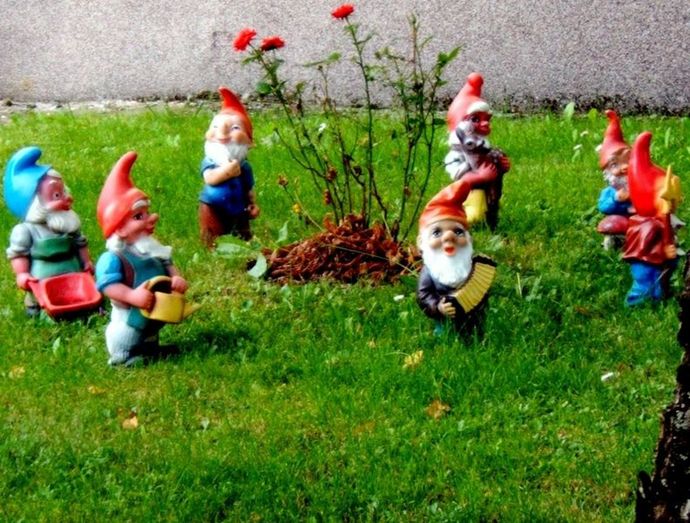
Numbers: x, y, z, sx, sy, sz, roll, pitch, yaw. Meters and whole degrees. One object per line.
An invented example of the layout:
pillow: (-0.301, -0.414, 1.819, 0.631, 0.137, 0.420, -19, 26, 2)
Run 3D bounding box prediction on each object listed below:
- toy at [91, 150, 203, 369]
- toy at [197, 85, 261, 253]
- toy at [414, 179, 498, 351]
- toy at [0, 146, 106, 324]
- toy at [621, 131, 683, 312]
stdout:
toy: (-1.640, -0.015, 9.409, 0.710, 1.619, 0.520, -4, 19, 4)
toy: (-1.116, -0.866, 10.853, 0.589, 1.456, 0.383, -7, 19, -6)
toy: (0.863, 0.028, 9.230, 0.619, 1.237, 0.470, -4, 19, 3)
toy: (-2.565, -0.257, 10.088, 0.690, 1.405, 0.382, -10, 19, -13)
toy: (2.510, -0.341, 9.673, 0.459, 1.378, 0.366, 0, 19, 15)
